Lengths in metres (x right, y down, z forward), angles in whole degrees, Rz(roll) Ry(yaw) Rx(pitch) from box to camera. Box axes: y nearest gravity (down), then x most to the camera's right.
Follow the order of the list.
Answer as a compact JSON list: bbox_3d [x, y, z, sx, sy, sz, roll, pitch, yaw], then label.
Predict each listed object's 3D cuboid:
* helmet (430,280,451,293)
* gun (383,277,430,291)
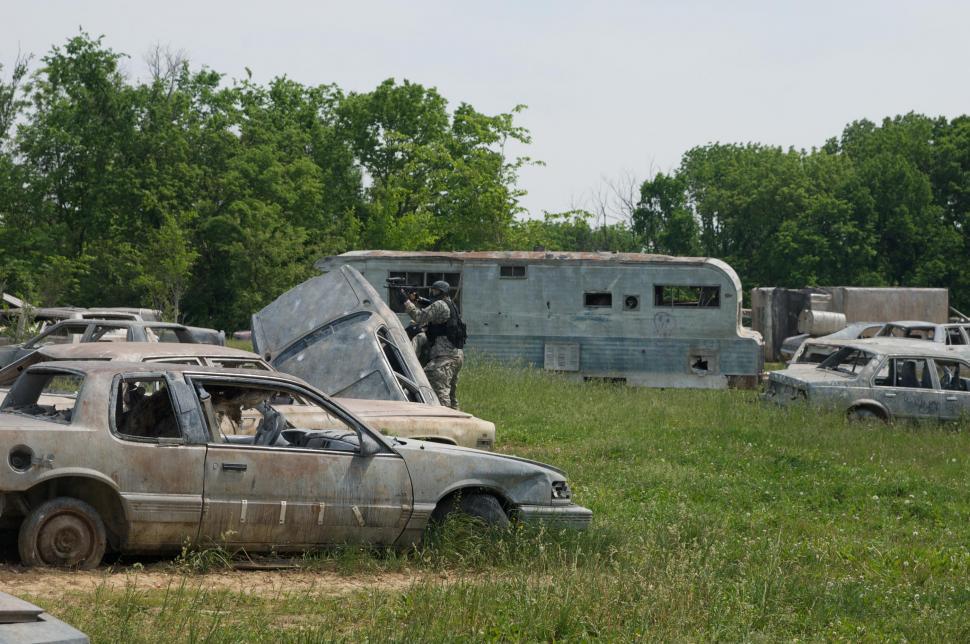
[{"bbox_3d":[-1.154,-0.859,41.419,0.377,0.383,0.418,10,28,15],"label":"helmet"},{"bbox_3d":[-2.340,-1.166,47.196,1.518,0.540,0.436,2,-4,-3],"label":"gun"}]
